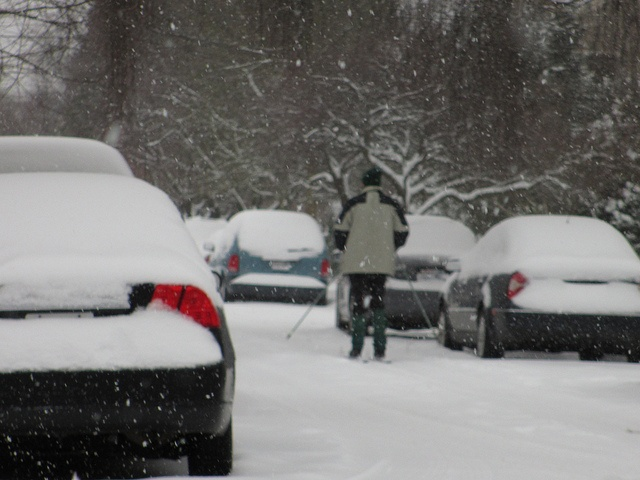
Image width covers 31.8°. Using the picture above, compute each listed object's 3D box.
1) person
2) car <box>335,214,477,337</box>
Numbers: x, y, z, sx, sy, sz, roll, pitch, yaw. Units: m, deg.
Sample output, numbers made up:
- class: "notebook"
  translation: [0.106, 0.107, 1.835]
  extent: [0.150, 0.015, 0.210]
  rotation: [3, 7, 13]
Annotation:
- class: "person"
  translation: [0.620, 0.294, 13.328]
  extent: [0.820, 2.110, 1.007]
  rotation: [-1, 7, -15]
- class: "car"
  translation: [1.449, 0.443, 16.273]
  extent: [1.213, 1.181, 2.216]
  rotation: [0, 2, -4]
